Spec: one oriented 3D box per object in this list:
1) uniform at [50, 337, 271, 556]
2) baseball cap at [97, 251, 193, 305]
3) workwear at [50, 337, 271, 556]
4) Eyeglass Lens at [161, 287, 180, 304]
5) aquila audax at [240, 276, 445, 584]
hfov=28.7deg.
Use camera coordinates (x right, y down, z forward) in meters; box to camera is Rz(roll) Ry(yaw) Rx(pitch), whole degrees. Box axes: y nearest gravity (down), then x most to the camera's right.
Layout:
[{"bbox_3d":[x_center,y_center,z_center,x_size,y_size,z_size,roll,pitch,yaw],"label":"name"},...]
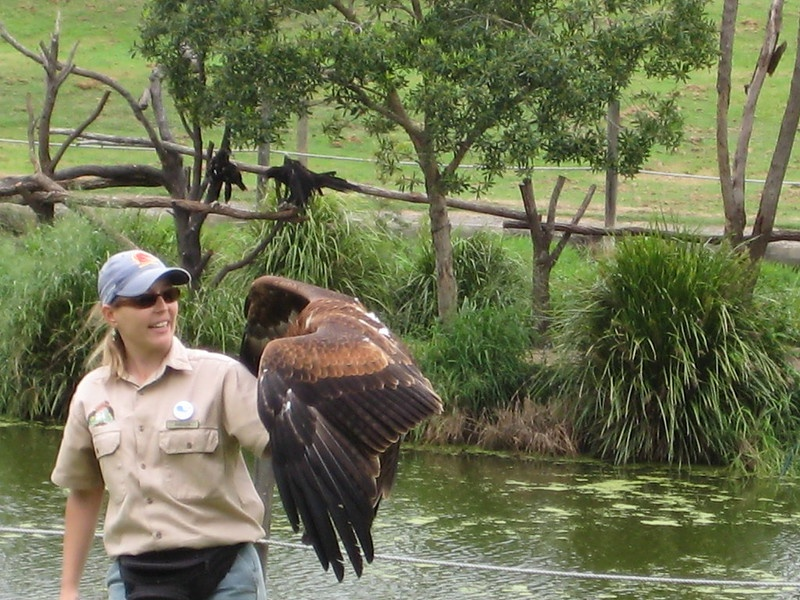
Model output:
[{"bbox_3d":[-1.763,1.157,11.829,1.519,1.599,0.804,-8,-12,1],"label":"uniform"},{"bbox_3d":[-1.909,-0.163,11.665,0.562,0.319,0.397,-28,-5,28],"label":"baseball cap"},{"bbox_3d":[-1.763,1.157,11.829,1.519,1.599,0.804,-8,-12,1],"label":"workwear"},{"bbox_3d":[-1.713,-0.042,11.751,0.112,0.071,0.126,-18,12,-3],"label":"Eyeglass Lens"},{"bbox_3d":[-0.567,0.951,11.860,1.198,1.941,1.603,-2,9,-27],"label":"aquila audax"}]
